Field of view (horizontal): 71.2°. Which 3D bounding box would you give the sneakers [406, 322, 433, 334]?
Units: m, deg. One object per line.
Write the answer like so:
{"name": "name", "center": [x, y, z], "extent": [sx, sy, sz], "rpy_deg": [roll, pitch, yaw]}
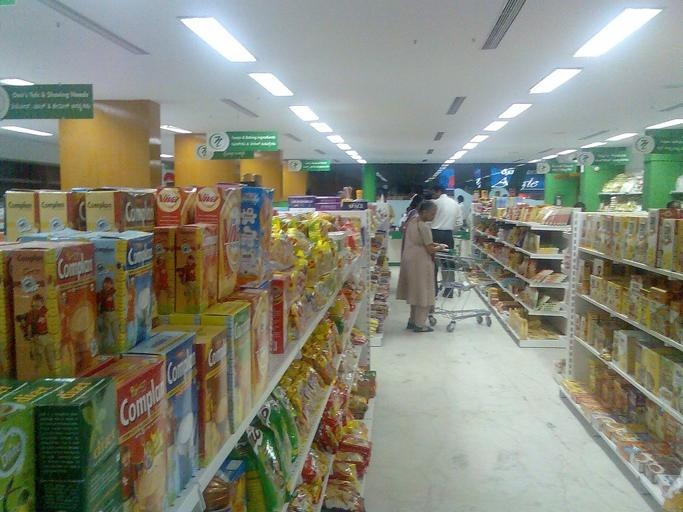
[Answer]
{"name": "sneakers", "center": [1.175, 1.079, 7.160], "extent": [0.279, 0.102, 0.154], "rpy_deg": [-1, 3, 5]}

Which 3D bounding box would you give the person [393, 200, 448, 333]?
{"name": "person", "center": [1.132, 0.183, 6.911], "extent": [0.645, 1.940, 0.647], "rpy_deg": [0, 6, 6]}

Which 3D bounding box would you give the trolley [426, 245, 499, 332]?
{"name": "trolley", "center": [1.894, 0.742, 8.156], "extent": [0.847, 0.848, 0.834], "rpy_deg": [-4, 26, 7]}
